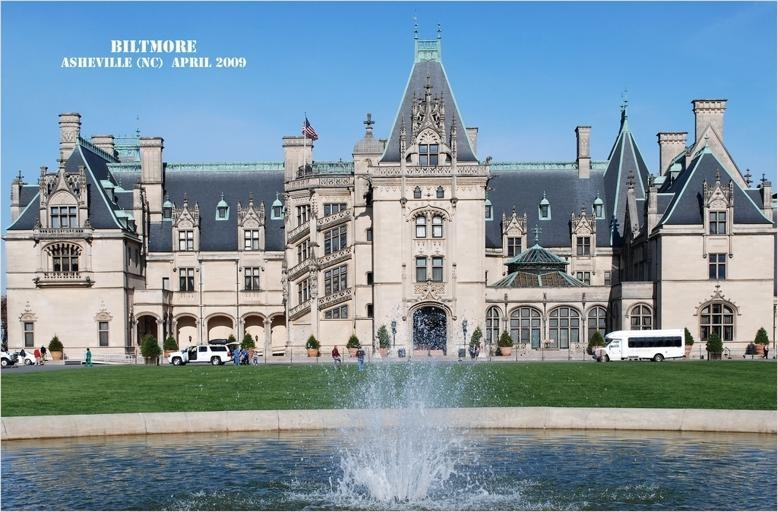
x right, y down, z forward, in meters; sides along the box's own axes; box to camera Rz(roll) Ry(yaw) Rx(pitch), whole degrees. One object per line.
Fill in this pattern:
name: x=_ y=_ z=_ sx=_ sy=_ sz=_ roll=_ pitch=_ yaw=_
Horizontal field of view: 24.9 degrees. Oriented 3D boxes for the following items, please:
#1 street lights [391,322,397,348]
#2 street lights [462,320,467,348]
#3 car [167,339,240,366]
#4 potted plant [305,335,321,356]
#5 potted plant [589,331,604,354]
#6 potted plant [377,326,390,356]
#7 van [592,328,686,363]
street lights: x=0.522 y=6.677 z=152.415 sx=0.534 sy=2.165 sz=0.220 roll=-1 pitch=-2 yaw=-17
street lights: x=6.651 y=6.579 z=152.359 sx=0.527 sy=2.235 sz=0.242 roll=0 pitch=-2 yaw=-26
car: x=-15.515 y=8.239 z=147.186 sx=5.493 sy=1.559 sz=3.025 roll=-1 pitch=-2 yaw=-21
potted plant: x=-6.708 y=8.006 z=154.508 sx=1.728 sy=2.052 sz=1.629 roll=0 pitch=-11 yaw=0
potted plant: x=18.178 y=7.464 z=150.972 sx=1.722 sy=2.257 sz=1.679 roll=4 pitch=0 yaw=1
potted plant: x=-0.332 y=7.298 z=151.792 sx=1.043 sy=2.667 sz=0.732 roll=0 pitch=-3 yaw=-32
van: x=21.020 y=7.466 z=145.996 sx=8.906 sy=3.109 sz=2.687 roll=0 pitch=-3 yaw=-1
